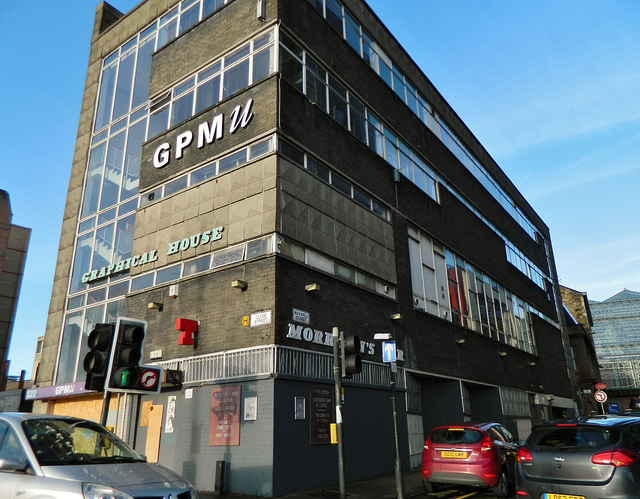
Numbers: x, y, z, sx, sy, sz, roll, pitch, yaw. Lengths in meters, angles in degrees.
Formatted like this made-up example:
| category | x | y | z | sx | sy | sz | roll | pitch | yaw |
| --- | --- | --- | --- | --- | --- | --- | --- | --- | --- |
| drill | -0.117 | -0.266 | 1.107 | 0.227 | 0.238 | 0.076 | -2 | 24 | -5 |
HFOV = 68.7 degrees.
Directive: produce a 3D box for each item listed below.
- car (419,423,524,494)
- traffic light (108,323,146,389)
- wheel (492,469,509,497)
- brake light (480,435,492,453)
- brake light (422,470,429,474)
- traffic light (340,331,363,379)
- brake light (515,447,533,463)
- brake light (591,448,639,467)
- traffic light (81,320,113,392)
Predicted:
| category | x | y | z | sx | sy | sz | roll | pitch | yaw |
| --- | --- | --- | --- | --- | --- | --- | --- | --- | --- |
| car | 4.430 | 5.661 | 12.820 | 1.954 | 1.457 | 3.448 | -9 | -16 | 33 |
| traffic light | -3.381 | 1.910 | 8.368 | 0.346 | 1.126 | 0.555 | -19 | -28 | 35 |
| wheel | 4.527 | 5.889 | 11.756 | 0.332 | 0.627 | 0.963 | -11 | -25 | 20 |
| brake light | 4.119 | 4.861 | 11.653 | 0.352 | 0.386 | 0.127 | 12 | -27 | -30 |
| brake light | 2.731 | 5.752 | 12.082 | 0.103 | 0.081 | 0.141 | -16 | -54 | 45 |
| traffic light | 0.696 | 2.386 | 10.877 | 0.455 | 1.064 | 1.173 | -3 | -23 | 2 |
| brake light | 3.819 | 3.838 | 8.683 | 0.304 | 0.145 | 0.184 | 16 | -17 | -40 |
| brake light | 4.842 | 3.426 | 7.692 | 0.674 | 0.271 | 0.165 | -4 | -23 | 3 |
| traffic light | -3.893 | 1.844 | 8.167 | 0.389 | 1.201 | 0.450 | 8 | -25 | -23 |
